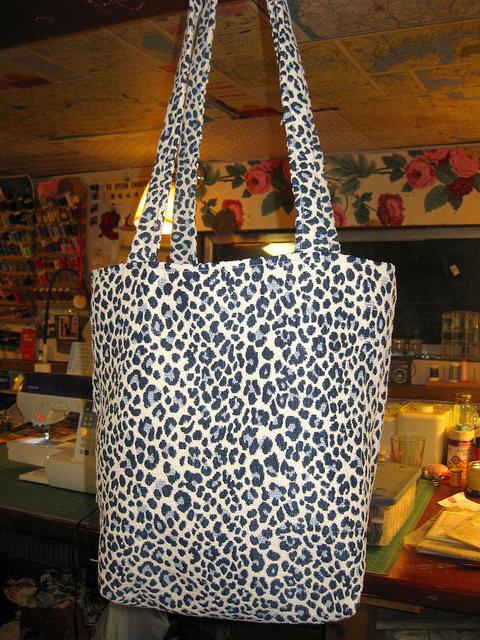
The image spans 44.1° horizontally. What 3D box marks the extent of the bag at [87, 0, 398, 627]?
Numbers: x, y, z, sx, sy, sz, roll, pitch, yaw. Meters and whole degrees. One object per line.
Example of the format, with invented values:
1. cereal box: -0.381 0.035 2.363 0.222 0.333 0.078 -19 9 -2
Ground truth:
1. bag: -0.016 -0.061 0.678 0.366 0.765 0.192 -4 -7 8

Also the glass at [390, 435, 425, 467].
1. glass: 0.464 0.357 1.643 0.096 0.088 0.089 -3 -9 26
